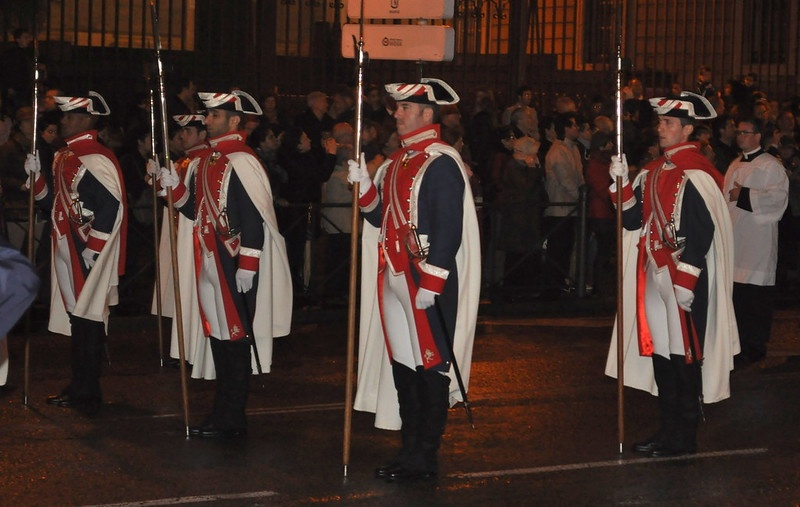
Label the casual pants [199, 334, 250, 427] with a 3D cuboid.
[{"bbox_3d":[-1.655,1.256,12.121,0.472,0.889,0.243,-1,10,-6],"label":"casual pants"}]

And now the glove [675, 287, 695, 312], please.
[{"bbox_3d":[2.618,0.412,11.572,0.173,0.248,0.156,2,9,10],"label":"glove"}]

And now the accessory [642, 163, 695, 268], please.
[{"bbox_3d":[2.432,-0.370,11.739,0.310,0.818,0.598,3,-1,-37],"label":"accessory"}]

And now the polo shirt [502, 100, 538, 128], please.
[{"bbox_3d":[1.836,-2.155,19.379,0.583,0.351,0.364,4,-1,8],"label":"polo shirt"}]

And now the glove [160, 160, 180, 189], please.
[{"bbox_3d":[-2.182,-0.743,12.116,0.209,0.230,0.115,-15,0,35],"label":"glove"}]

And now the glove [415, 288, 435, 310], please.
[{"bbox_3d":[0.243,0.399,11.137,0.184,0.215,0.188,1,9,5],"label":"glove"}]

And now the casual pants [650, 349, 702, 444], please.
[{"bbox_3d":[2.592,1.373,11.766,0.434,0.890,0.191,2,10,7],"label":"casual pants"}]

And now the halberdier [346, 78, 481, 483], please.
[{"bbox_3d":[0.066,0.237,11.522,1.295,3.417,1.437,-1,3,-35],"label":"halberdier"}]

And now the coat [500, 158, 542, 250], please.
[{"bbox_3d":[1.667,-0.656,17.124,0.579,1.273,0.336,1,10,3],"label":"coat"}]

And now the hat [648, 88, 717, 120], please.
[{"bbox_3d":[2.656,-1.401,11.812,0.503,0.152,0.312,2,12,0],"label":"hat"}]

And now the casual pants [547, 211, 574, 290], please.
[{"bbox_3d":[2.220,-0.047,17.420,0.247,0.770,0.958,5,4,20],"label":"casual pants"}]

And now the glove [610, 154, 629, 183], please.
[{"bbox_3d":[2.022,-0.791,11.687,0.251,0.255,0.103,-4,-2,-16],"label":"glove"}]

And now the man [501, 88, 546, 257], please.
[{"bbox_3d":[1.614,-1.014,17.267,0.666,1.901,0.535,-6,6,-19],"label":"man"}]

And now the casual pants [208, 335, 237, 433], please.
[{"bbox_3d":[-1.736,1.225,12.171,0.307,0.789,0.198,4,-6,-24],"label":"casual pants"}]

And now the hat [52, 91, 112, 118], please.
[{"bbox_3d":[-3.215,-1.510,12.824,0.452,0.146,0.340,-1,4,-44],"label":"hat"}]

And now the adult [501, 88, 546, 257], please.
[{"bbox_3d":[1.645,-1.002,17.275,0.672,1.914,0.500,-4,5,2],"label":"adult"}]

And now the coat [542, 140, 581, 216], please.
[{"bbox_3d":[2.337,-1.128,17.598,0.600,0.850,0.746,8,13,27],"label":"coat"}]
